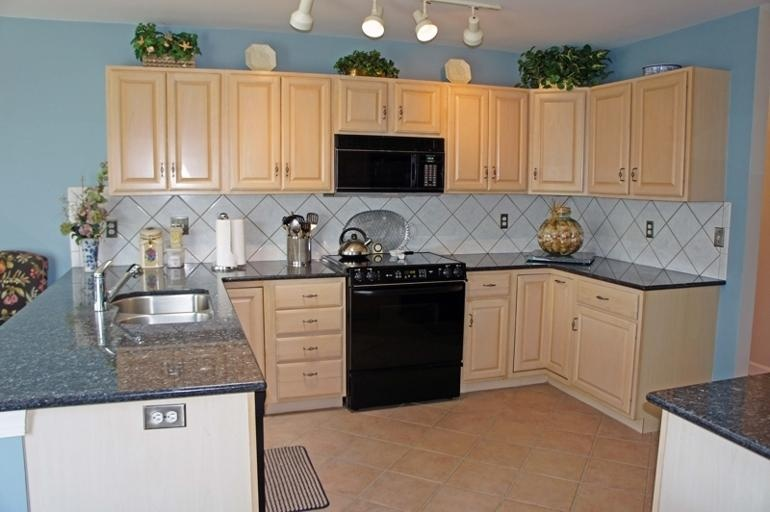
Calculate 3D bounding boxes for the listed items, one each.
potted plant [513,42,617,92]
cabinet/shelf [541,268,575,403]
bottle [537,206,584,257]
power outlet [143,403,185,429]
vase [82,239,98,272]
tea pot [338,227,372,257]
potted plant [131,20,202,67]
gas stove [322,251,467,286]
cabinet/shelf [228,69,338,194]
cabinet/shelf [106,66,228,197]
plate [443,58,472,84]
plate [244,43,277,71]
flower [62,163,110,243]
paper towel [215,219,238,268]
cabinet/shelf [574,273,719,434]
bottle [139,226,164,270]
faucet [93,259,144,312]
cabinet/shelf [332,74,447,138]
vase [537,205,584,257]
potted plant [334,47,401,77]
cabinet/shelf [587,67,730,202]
[{"bbox_3d":[1.537,-1.686,5.068,0.708,0.283,0.562,9,1,-12],"label":"potted plant"},{"bbox_3d":[1.473,0.598,4.802,0.136,0.921,0.324,-7,9,-14],"label":"cabinet/shelf"},{"bbox_3d":[1.557,-0.211,5.104,0.401,0.395,0.384,-15,18,-37],"label":"bottle"},{"bbox_3d":[-0.973,0.701,2.508,0.131,0.072,0.018,0,1,-11],"label":"power outlet"},{"bbox_3d":[-2.309,-0.008,4.512,0.138,0.253,0.217,-8,9,-26],"label":"vase"},{"bbox_3d":[-0.287,-0.100,4.891,0.327,0.252,0.217,-1,-1,-7],"label":"tea pot"},{"bbox_3d":[-1.626,-1.619,4.462,0.372,0.220,0.461,-3,36,-32],"label":"potted plant"},{"bbox_3d":[0.067,0.109,4.740,1.081,0.251,0.516,-5,7,-15],"label":"gas stove"},{"bbox_3d":[-0.835,-0.994,4.516,1.076,1.086,0.584,-1,4,-14],"label":"cabinet/shelf"},{"bbox_3d":[-1.682,-0.972,4.357,1.064,1.097,0.565,-1,5,-15],"label":"cabinet/shelf"},{"bbox_3d":[0.606,-1.576,4.907,0.213,0.233,0.218,-3,8,9],"label":"plate"},{"bbox_3d":[-0.995,-1.574,4.575,0.253,0.226,0.041,-2,-3,-15],"label":"plate"},{"bbox_3d":[-2.323,-0.414,4.463,0.374,0.610,0.293,-8,9,-23],"label":"flower"},{"bbox_3d":[-1.266,-0.085,4.539,0.157,0.400,0.068,-7,9,-16],"label":"paper towel"},{"bbox_3d":[2.026,0.648,4.594,0.914,1.063,0.675,-7,14,-28],"label":"cabinet/shelf"},{"bbox_3d":[-1.838,-0.057,4.534,0.185,0.315,0.134,-9,9,-30],"label":"bottle"},{"bbox_3d":[-1.544,0.165,3.362,0.399,0.290,0.105,-13,-5,23],"label":"faucet"},{"bbox_3d":[-0.017,-1.228,4.822,1.028,0.453,0.364,-4,12,-23],"label":"cabinet/shelf"},{"bbox_3d":[1.558,-0.208,5.121,0.406,0.425,0.389,-4,12,-8],"label":"vase"},{"bbox_3d":[-0.167,-1.551,4.714,0.387,0.174,0.300,-4,13,-24],"label":"potted plant"},{"bbox_3d":[2.133,-0.935,4.614,0.514,0.959,1.108,-7,11,-21],"label":"cabinet/shelf"}]
